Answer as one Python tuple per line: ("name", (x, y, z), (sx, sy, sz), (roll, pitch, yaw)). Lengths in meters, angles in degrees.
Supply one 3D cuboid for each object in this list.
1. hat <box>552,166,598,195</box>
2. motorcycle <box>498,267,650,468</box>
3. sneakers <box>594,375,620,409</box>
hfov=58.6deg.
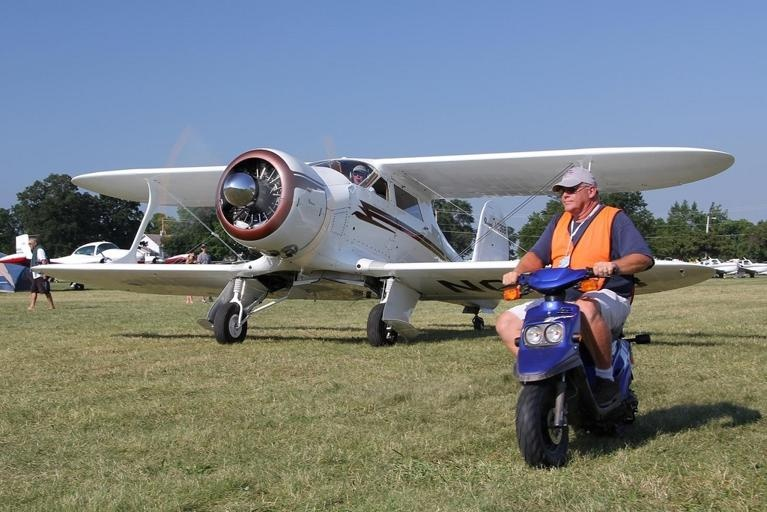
("hat", (1.321, -0.515, 4.732), (0.333, 0.126, 0.195), (3, -4, -14))
("motorcycle", (1.191, 0.671, 4.353), (0.454, 1.189, 0.948), (5, 7, 43))
("sneakers", (1.436, 0.885, 4.404), (0.163, 0.139, 0.437), (-5, -14, 24))
